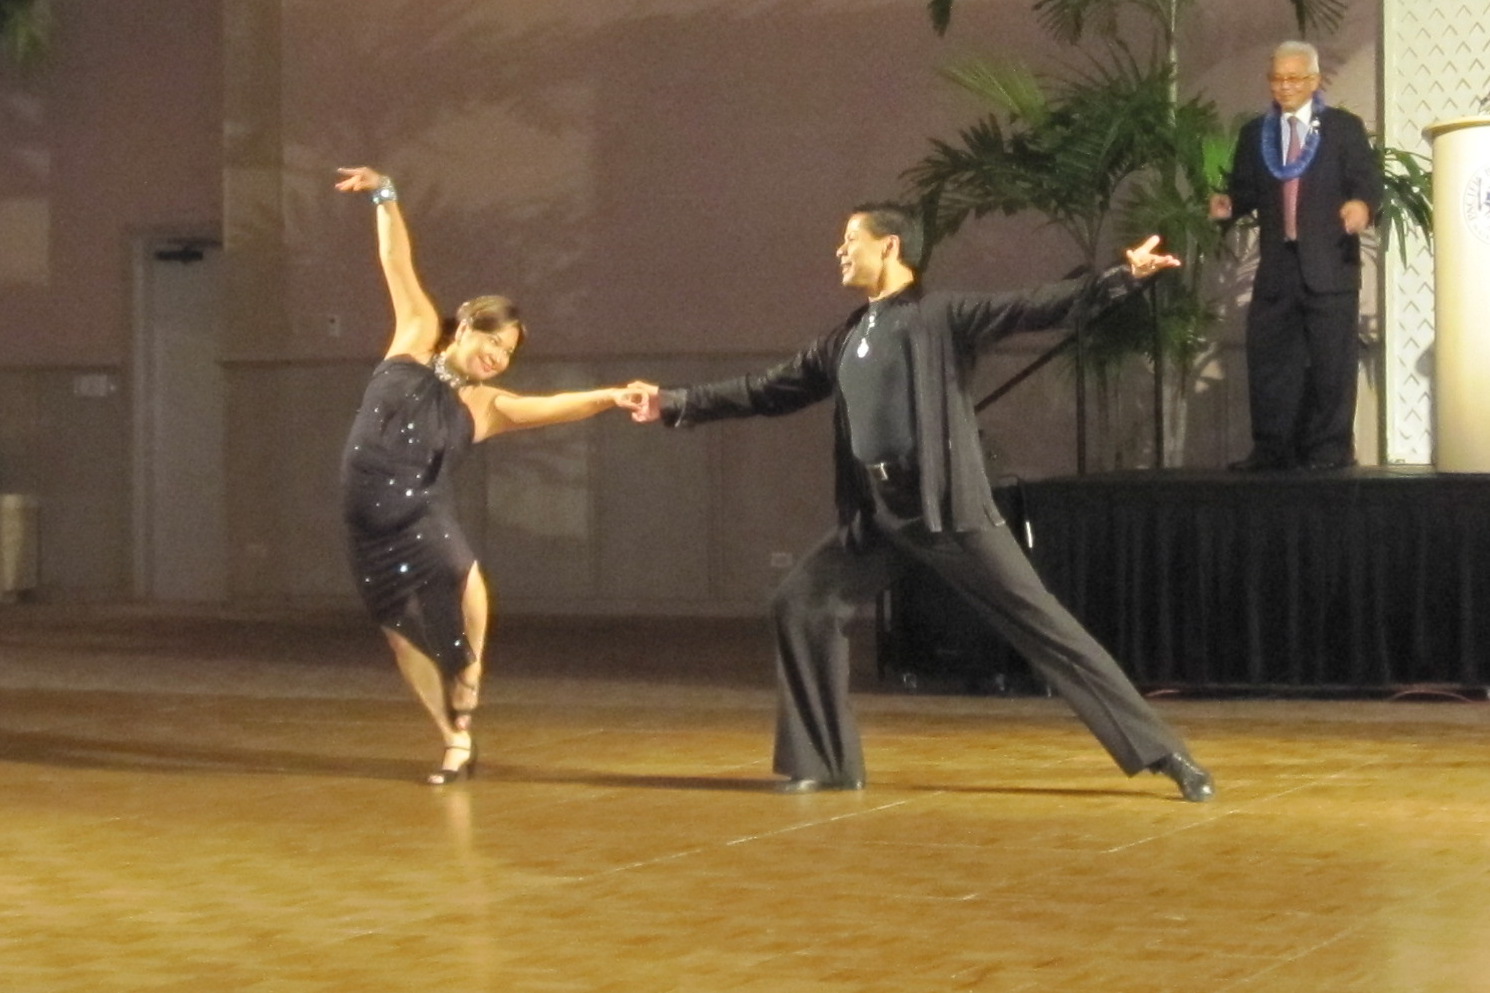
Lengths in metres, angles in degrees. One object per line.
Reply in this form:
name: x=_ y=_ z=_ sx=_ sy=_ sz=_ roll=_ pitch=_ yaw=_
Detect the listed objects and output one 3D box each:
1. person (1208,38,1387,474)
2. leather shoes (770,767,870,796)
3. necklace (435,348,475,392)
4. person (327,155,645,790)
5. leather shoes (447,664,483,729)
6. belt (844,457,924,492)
person: x=3.468 y=-1.483 z=12.425 sx=0.918 sy=2.619 sz=0.512 roll=-4 pitch=-3 yaw=31
leather shoes: x=0.374 y=1.358 z=9.447 sx=0.409 sy=0.158 sz=0.131 roll=5 pitch=-5 yaw=-1
necklace: x=-1.407 y=-0.613 z=9.624 sx=0.160 sy=0.174 sz=0.055 roll=22 pitch=43 yaw=28
person: x=-1.396 y=-0.126 z=9.624 sx=1.077 sy=3.026 sz=0.477 roll=-2 pitch=-3 yaw=-11
leather shoes: x=-1.347 y=0.969 z=9.767 sx=0.200 sy=0.335 sz=0.146 roll=-2 pitch=4 yaw=23
belt: x=0.645 y=-0.101 z=9.301 sx=0.336 sy=0.157 sz=0.093 roll=-5 pitch=-4 yaw=41
